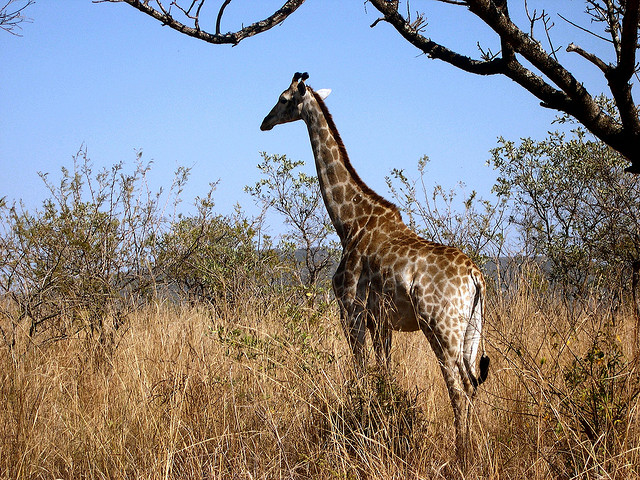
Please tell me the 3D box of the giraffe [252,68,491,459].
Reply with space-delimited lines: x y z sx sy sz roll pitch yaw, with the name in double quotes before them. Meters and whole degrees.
"giraffe" 0.727 -0.055 8.061 2.120 5.274 0.940 -24 -26 38
